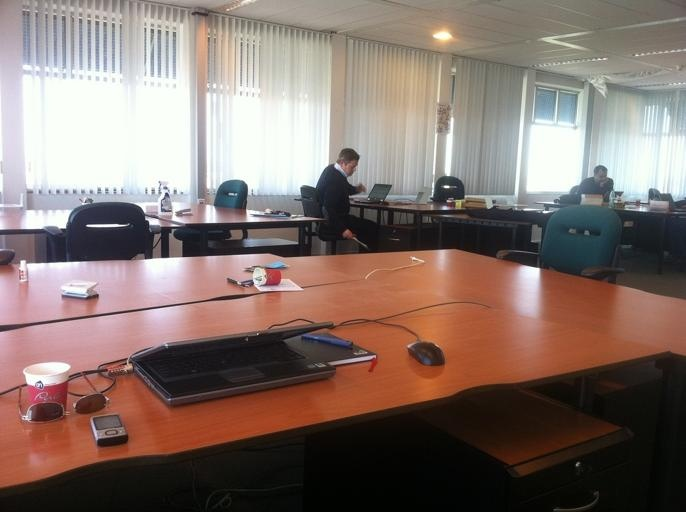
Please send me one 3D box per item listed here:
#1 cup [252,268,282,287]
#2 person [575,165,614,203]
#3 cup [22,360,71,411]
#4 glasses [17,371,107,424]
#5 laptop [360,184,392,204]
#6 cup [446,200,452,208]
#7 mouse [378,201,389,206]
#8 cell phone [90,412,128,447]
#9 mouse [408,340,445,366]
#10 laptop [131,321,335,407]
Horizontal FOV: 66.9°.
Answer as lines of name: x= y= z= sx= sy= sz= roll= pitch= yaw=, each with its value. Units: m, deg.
cup: x=-0.348 y=0.096 z=2.335 sx=0.129 sy=0.090 sz=0.092 roll=-1 pitch=-13 yaw=-22
person: x=4.249 y=-1.244 z=8.655 sx=0.480 sy=0.527 sz=0.993 roll=6 pitch=12 yaw=14
cup: x=-0.702 y=0.310 z=1.230 sx=0.101 sy=0.095 sz=0.102 roll=4 pitch=10 yaw=-1
glasses: x=-0.674 y=0.346 z=1.274 sx=0.179 sy=0.049 sz=0.178 roll=-8 pitch=8 yaw=-21
laptop: x=0.528 y=-0.935 z=7.637 sx=0.379 sy=0.299 sz=0.233 roll=9 pitch=-1 yaw=36
cup: x=1.508 y=-0.747 z=7.383 sx=0.110 sy=0.094 sz=0.180 roll=2 pitch=5 yaw=1
mouse: x=0.584 y=-0.752 z=7.390 sx=0.132 sy=0.029 sz=0.119 roll=-13 pitch=20 yaw=-40
cell phone: x=-0.528 y=0.386 z=1.160 sx=0.066 sy=0.021 sz=0.109 roll=-1 pitch=13 yaw=-35
mouse: x=0.251 y=0.291 z=1.562 sx=0.074 sy=0.054 sz=0.108 roll=-5 pitch=14 yaw=-32
laptop: x=-0.281 y=0.279 z=1.462 sx=0.575 sy=0.105 sz=0.283 roll=-3 pitch=13 yaw=-27
